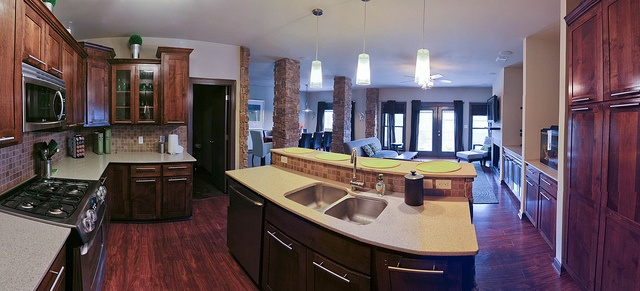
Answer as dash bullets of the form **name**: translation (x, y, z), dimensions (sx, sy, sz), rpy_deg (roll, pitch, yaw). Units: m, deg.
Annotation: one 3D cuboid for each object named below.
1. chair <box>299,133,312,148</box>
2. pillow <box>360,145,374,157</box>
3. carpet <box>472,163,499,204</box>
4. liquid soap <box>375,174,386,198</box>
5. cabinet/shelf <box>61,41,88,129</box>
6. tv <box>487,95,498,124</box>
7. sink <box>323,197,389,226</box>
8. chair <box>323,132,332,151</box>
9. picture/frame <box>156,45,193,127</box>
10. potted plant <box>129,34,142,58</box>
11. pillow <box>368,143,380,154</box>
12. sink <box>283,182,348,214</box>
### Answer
- **chair**: translation (-0.469, -0.158, 11.412), dimensions (0.329, 0.474, 0.720), rpy_deg (3, 7, 26)
- **pillow**: translation (1.474, 0.165, 10.878), dimensions (0.354, 0.329, 0.535), rpy_deg (2, 6, 17)
- **carpet**: translation (4.869, 0.984, 10.293), dimensions (0.608, 0.027, 3.786), rpy_deg (-5, 11, 26)
- **liquid soap**: translation (1.016, 0.655, 5.907), dimensions (0.138, 0.352, 0.212), rpy_deg (1, 7, 8)
- **cabinet/shelf**: translation (-4.685, -1.156, 6.673), dimensions (0.233, 1.568, 0.784), rpy_deg (-3, 8, -19)
- **tv**: translation (5.438, -1.124, 10.998), dimensions (0.221, 0.699, 1.409), rpy_deg (3, -3, 20)
- **sink**: translation (0.627, 1.077, 5.830), dimensions (0.705, 0.181, 0.666), rpy_deg (8, 18, 32)
- **chair**: translation (0.247, -0.199, 12.445), dimensions (0.317, 0.588, 0.459), rpy_deg (-1, 7, -2)
- **picture/frame**: translation (-3.254, -1.317, 7.832), dimensions (0.740, 1.693, 0.195), rpy_deg (-2, 8, -11)
- **potted plant**: translation (-4.185, -2.217, 7.891), dimensions (0.303, 0.594, 0.582), rpy_deg (-4, 7, -25)
- **pillow**: translation (1.701, 0.082, 11.163), dimensions (0.389, 0.320, 0.085), rpy_deg (-12, -28, -52)
- **sink**: translation (-0.125, 0.823, 6.050), dimensions (0.724, 0.229, 0.701), rpy_deg (-6, 12, -43)
